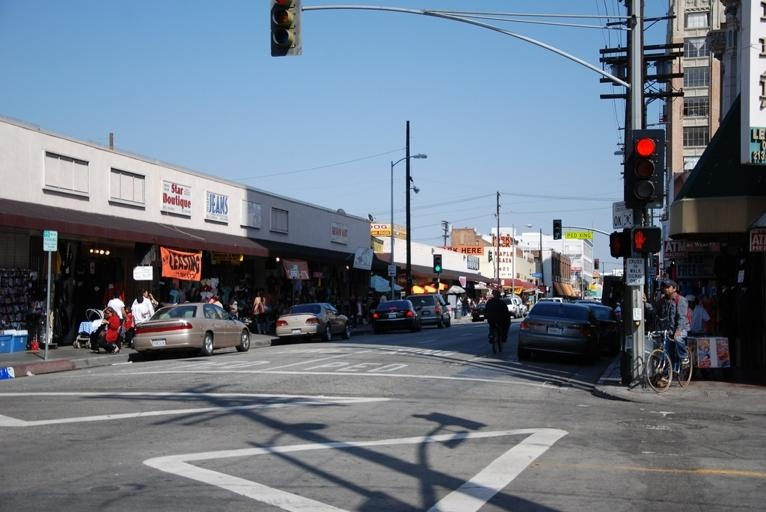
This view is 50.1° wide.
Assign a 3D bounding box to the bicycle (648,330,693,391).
[{"bbox_3d":[6.901,2.461,19.492,2.187,1.433,0.797,3,1,-43],"label":"bicycle"}]

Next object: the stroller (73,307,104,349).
[{"bbox_3d":[-10.415,2.438,28.492,1.046,1.228,0.850,-5,4,-24],"label":"stroller"}]

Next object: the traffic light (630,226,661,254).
[{"bbox_3d":[6.132,-0.400,18.989,0.653,0.570,0.675,-4,-5,20],"label":"traffic light"}]

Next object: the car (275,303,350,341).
[{"bbox_3d":[-2.911,2.714,34.157,1.463,1.583,3.279,-5,-6,29],"label":"car"}]

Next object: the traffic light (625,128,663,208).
[{"bbox_3d":[6.102,-2.033,18.955,0.895,1.843,0.686,-4,-5,19],"label":"traffic light"}]

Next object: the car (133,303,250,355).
[{"bbox_3d":[-6.236,2.415,27.326,1.463,1.750,3.716,-5,-6,34],"label":"car"}]
